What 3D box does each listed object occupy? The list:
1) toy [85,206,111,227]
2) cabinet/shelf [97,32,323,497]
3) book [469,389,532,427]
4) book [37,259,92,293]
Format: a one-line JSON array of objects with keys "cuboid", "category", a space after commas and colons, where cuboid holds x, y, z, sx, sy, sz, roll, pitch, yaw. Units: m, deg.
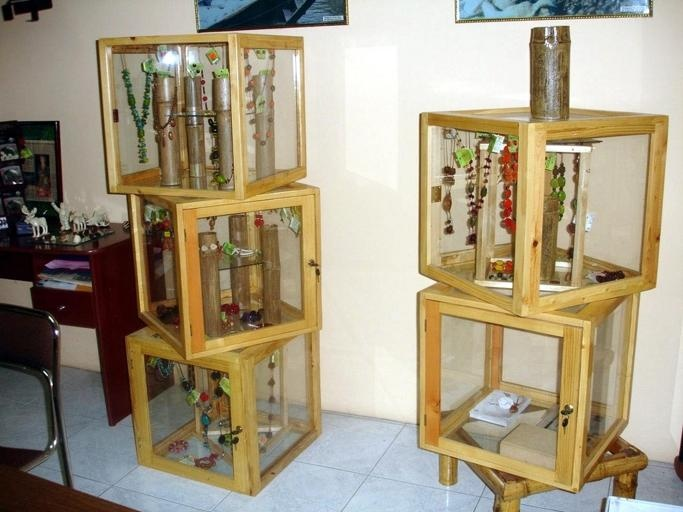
[{"cuboid": [-1.481, -0.228, 3.565, 0.167, 0.117, 0.130, -2, 11, 8], "category": "toy"}, {"cuboid": [-0.564, 0.077, 2.756, 0.984, 2.080, 0.505, -7, 15, -16], "category": "cabinet/shelf"}, {"cuboid": [0.681, 0.665, 2.552, 0.163, 0.035, 0.179, 7, 27, 34], "category": "book"}, {"cuboid": [-1.522, 0.095, 3.290, 0.269, 0.079, 0.201, 7, 8, 24], "category": "book"}]
